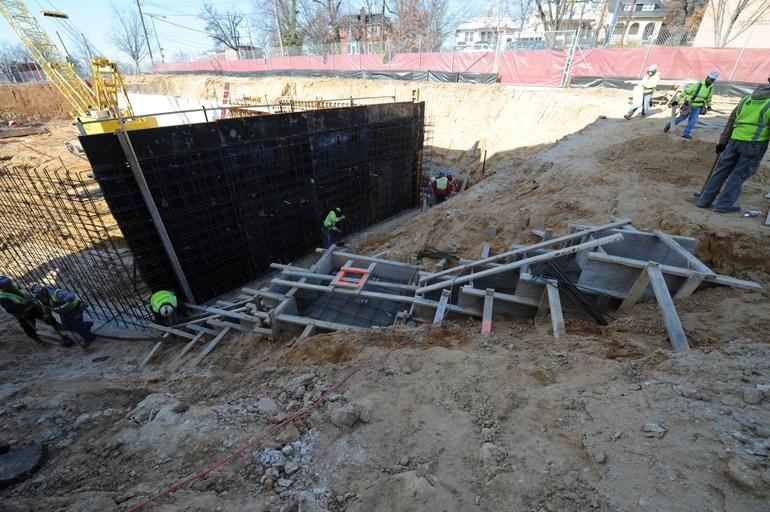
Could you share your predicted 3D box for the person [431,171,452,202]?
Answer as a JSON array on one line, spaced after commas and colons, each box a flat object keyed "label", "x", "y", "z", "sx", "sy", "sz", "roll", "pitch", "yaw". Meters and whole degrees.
[{"label": "person", "x": 1.878, "y": -2.078, "z": 13.373, "sx": 0.640, "sy": 1.028, "sz": 0.807, "roll": 6, "pitch": 33, "yaw": 17}]

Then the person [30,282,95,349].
[{"label": "person", "x": -6.030, "y": 1.130, "z": 7.999, "sx": 0.662, "sy": 1.296, "sz": 0.496, "roll": 22, "pitch": 43, "yaw": 35}]
